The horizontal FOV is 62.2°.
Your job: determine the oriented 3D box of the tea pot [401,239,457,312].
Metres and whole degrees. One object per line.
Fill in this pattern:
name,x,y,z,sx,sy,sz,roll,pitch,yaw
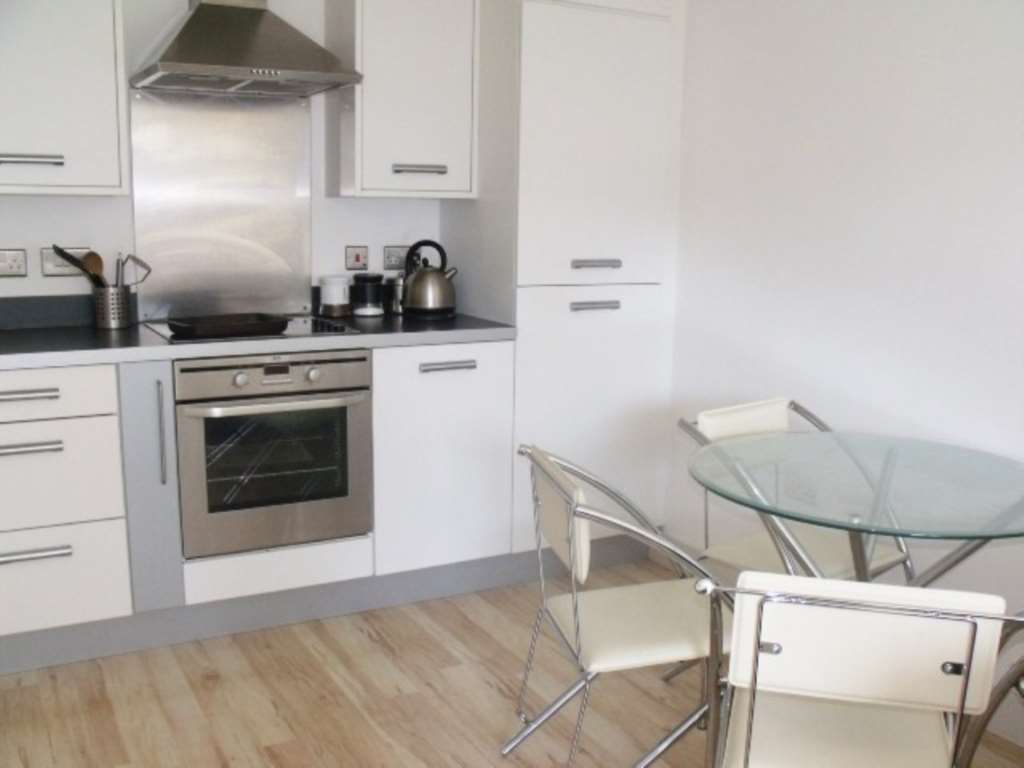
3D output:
tea pot,-0.395,-0.495,3.910,0.361,0.350,0.240,-2,11,-11

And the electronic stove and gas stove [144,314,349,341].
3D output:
electronic stove and gas stove,-1.063,-0.253,3.464,0.806,0.074,0.605,-6,12,-22

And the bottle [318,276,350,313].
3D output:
bottle,-0.803,-0.415,3.851,0.158,0.154,0.124,-2,10,-18

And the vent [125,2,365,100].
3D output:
vent,-1.073,-1.355,3.369,0.824,0.366,0.549,-7,13,-24

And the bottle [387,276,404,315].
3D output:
bottle,-0.544,-0.419,3.950,0.083,0.164,0.240,-3,12,-8

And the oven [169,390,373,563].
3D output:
oven,-0.984,0.308,3.558,0.852,0.736,0.587,-4,10,-26

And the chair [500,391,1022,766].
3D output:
chair,0.587,0.673,2.693,1.155,1.053,1.228,-9,14,-30

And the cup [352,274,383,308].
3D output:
cup,-0.641,-0.424,3.849,0.151,0.147,0.155,1,11,0
